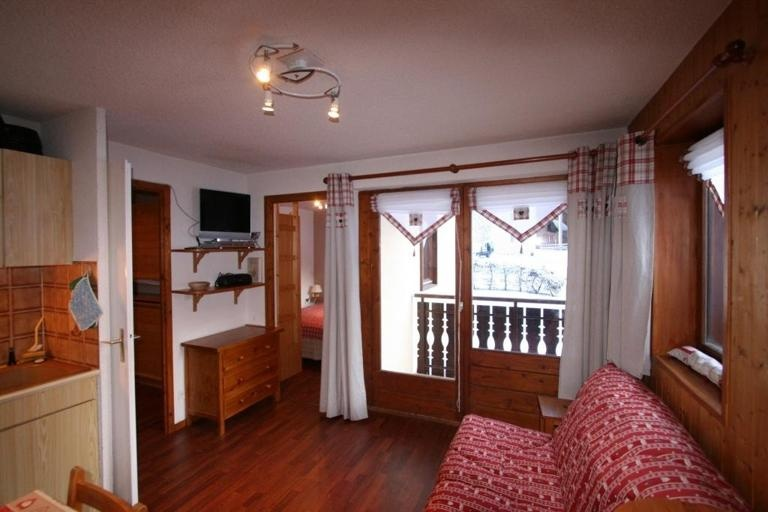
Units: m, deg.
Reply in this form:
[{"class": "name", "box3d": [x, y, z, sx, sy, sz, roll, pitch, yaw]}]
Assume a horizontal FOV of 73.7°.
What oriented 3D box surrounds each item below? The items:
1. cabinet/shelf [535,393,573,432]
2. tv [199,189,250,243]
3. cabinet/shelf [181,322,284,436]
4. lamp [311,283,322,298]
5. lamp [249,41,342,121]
[{"class": "cabinet/shelf", "box3d": [1.438, 1.325, 4.356, 0.349, 0.183, 0.194, 0, -2, -1]}, {"class": "tv", "box3d": [-1.815, -0.446, 5.763, 0.081, 0.537, 0.610, -2, -4, 35]}, {"class": "cabinet/shelf", "box3d": [-1.625, 1.283, 5.624, 0.633, 0.830, 1.003, -1, 5, 26]}, {"class": "lamp", "box3d": [-1.151, 0.613, 9.027, 0.185, 0.201, 0.200, 6, 13, 34]}, {"class": "lamp", "box3d": [-0.629, -1.192, 3.681, 0.595, 0.533, 0.730, -2, 1, -10]}]
